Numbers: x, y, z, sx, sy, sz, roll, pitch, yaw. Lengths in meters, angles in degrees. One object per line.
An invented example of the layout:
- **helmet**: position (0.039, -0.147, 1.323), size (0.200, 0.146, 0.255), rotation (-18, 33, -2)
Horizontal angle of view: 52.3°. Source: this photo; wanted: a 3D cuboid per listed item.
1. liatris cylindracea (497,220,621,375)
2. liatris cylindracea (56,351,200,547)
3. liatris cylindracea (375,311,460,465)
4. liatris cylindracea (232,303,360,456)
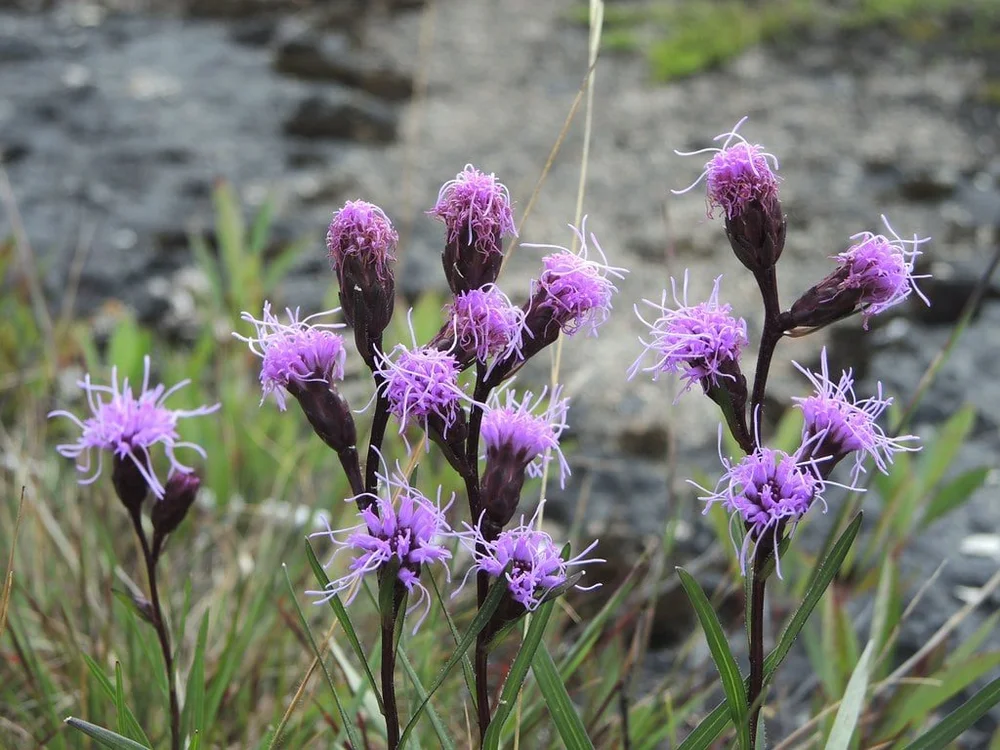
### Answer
- **liatris cylindracea**: position (0.087, -0.106, 1.332), size (0.121, 0.213, 0.256), rotation (12, 36, 9)
- **liatris cylindracea**: position (-0.489, 0.088, 1.338), size (0.172, 0.183, 0.192), rotation (-5, 0, -6)
- **liatris cylindracea**: position (-0.093, 0.024, 1.286), size (0.092, 0.158, 0.105), rotation (10, 45, 13)
- **liatris cylindracea**: position (-0.244, -0.005, 1.306), size (0.136, 0.121, 0.208), rotation (-10, 75, -35)
